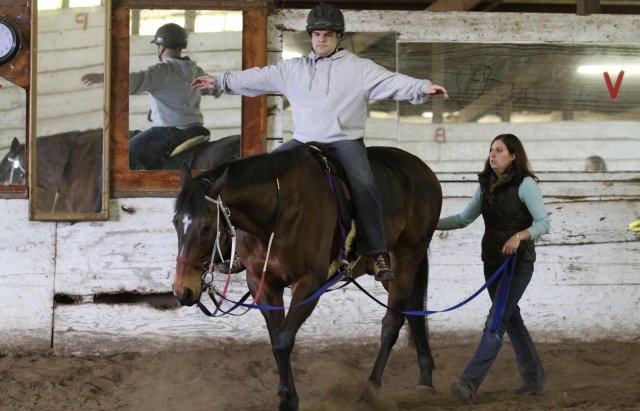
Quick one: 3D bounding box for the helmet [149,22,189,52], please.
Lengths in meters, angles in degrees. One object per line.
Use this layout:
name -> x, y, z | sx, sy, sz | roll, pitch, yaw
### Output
helmet -> -1.555, -1.737, 12.697 | 0.439, 0.342, 0.338 | 4, 9, 34

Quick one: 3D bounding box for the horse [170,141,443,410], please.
horse -> -0.070, 0.659, 11.413 | 2.705, 2.390, 0.931 | -7, 18, -26

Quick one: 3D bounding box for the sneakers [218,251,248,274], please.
sneakers -> -0.797, 0.510, 11.217 | 0.229, 0.131, 0.301 | 0, -3, -3

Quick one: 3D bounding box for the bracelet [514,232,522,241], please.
bracelet -> 1.862, 0.289, 11.485 | 0.049, 0.061, 0.022 | 9, 18, 25

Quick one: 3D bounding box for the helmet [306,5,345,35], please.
helmet -> 0.060, -1.739, 11.498 | 0.246, 0.302, 0.238 | 0, 29, 4

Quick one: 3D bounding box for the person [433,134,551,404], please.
person -> 1.741, 0.593, 11.672 | 0.874, 2.434, 0.971 | -2, 17, -9

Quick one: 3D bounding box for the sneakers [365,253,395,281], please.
sneakers -> 0.588, 0.534, 11.424 | 0.192, 0.220, 0.532 | 2, 18, -9

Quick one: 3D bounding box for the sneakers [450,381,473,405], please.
sneakers -> 1.338, 1.754, 11.498 | 0.132, 0.269, 0.116 | 5, 49, 45

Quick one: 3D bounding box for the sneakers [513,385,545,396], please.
sneakers -> 2.027, 1.782, 11.821 | 0.327, 0.136, 0.110 | 2, -2, 6

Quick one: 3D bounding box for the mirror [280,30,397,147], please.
mirror -> 0.190, -1.139, 11.779 | 1.304, 1.278, 0.025 | 0, 4, 1
